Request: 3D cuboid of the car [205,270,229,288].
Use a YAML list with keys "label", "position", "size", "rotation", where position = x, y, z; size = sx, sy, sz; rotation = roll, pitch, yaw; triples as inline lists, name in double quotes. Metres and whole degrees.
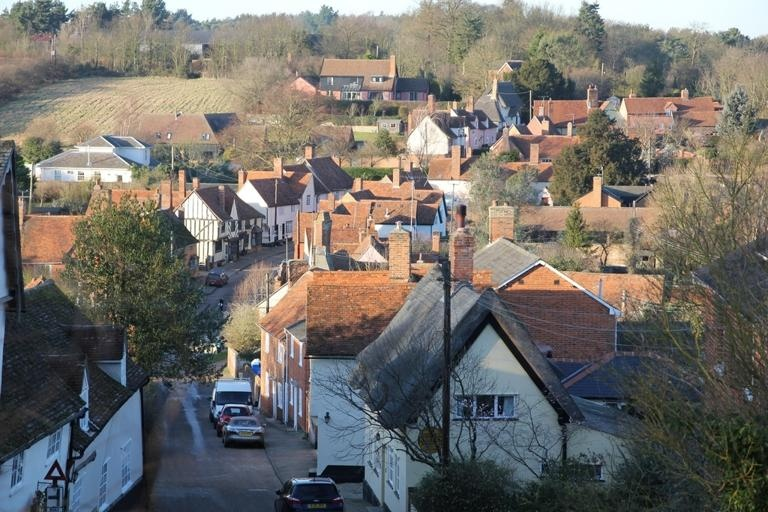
- label: "car"
  position: [-15.549, 2.068, 138.272]
  size: [1.090, 1.051, 2.040]
  rotation: [3, 11, 6]
